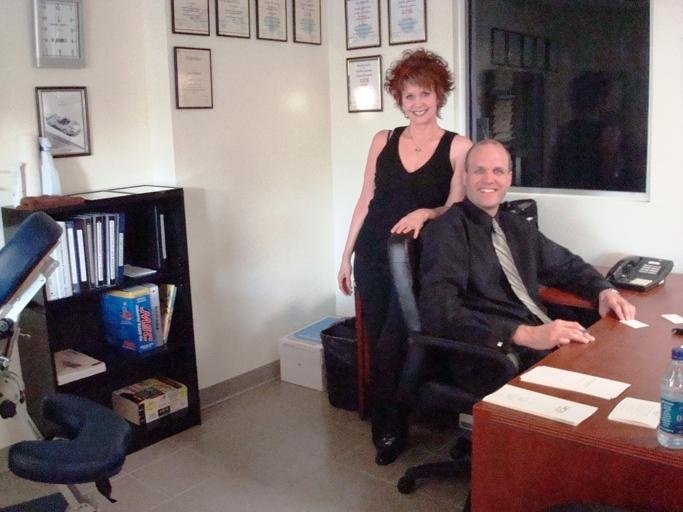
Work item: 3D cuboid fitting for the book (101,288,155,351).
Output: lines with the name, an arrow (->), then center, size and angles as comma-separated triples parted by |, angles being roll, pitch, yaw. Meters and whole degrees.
book -> -1.185, 0.348, 3.027 | 0.310, 0.321, 0.116 | 9, 18, 34

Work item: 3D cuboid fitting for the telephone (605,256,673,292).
telephone -> 1.544, 0.084, 2.802 | 0.309, 0.106, 0.241 | -14, 14, -29

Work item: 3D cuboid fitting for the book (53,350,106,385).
book -> -1.412, 0.578, 2.877 | 0.252, 0.094, 0.339 | -13, 17, -36

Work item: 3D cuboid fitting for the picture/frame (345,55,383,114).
picture/frame -> 0.175, -1.233, 3.810 | 0.387, 0.514, 0.035 | 7, 16, 29

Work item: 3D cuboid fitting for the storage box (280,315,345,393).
storage box -> -0.199, 0.656, 3.767 | 0.363, 0.315, 0.513 | 4, 12, 28

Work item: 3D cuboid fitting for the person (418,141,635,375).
person -> 0.813, 0.016, 2.449 | 0.965, 1.019, 0.854 | -9, 11, -24
